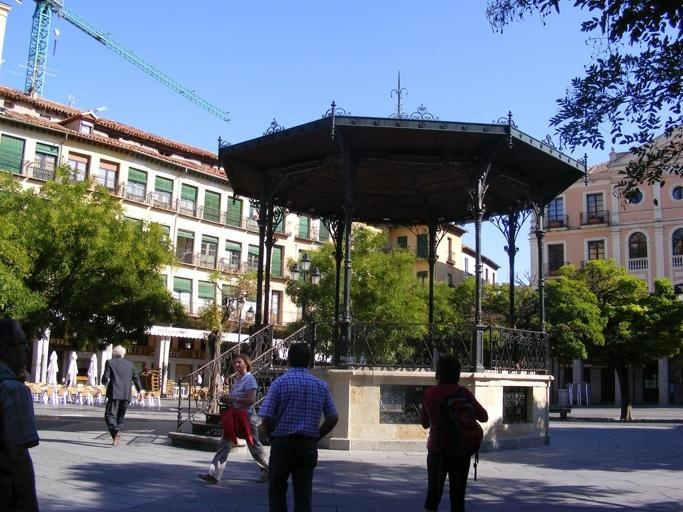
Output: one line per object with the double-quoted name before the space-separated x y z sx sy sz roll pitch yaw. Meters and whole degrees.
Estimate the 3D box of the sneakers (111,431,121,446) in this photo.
"sneakers" -4.858 3.898 17.076 0.141 0.424 0.168 7 16 -19

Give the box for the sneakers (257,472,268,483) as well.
"sneakers" -1.386 3.876 13.993 0.207 0.216 0.103 -3 -29 8

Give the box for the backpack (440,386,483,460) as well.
"backpack" 1.724 2.363 11.437 0.569 0.995 0.271 -1 -10 5
